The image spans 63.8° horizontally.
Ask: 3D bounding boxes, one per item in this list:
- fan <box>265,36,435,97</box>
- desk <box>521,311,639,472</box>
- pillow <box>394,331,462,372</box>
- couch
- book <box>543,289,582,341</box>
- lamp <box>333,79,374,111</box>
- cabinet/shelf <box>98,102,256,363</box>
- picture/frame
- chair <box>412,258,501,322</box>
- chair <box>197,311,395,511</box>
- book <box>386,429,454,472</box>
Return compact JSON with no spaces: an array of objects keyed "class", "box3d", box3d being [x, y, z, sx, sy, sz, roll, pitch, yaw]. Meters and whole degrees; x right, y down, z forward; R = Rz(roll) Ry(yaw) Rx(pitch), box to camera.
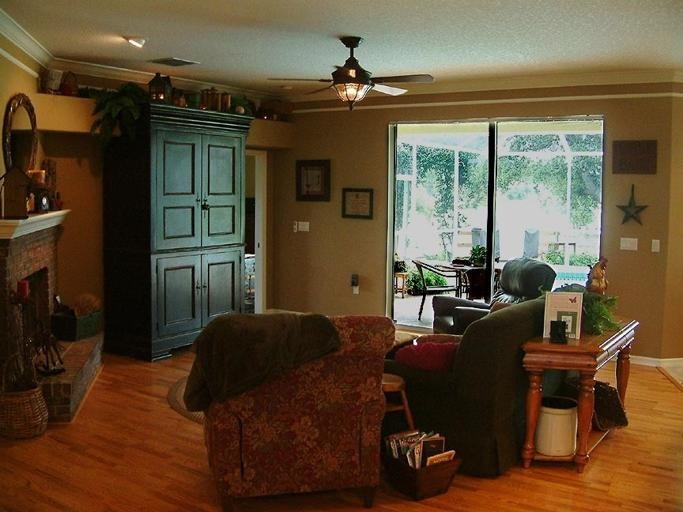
[{"class":"fan","box3d":[0.110,-1.948,5.523,0.879,0.414,0.940,-2,1,19]},{"class":"desk","box3d":[1.736,1.030,4.073,0.425,0.637,1.171,1,4,31]},{"class":"pillow","box3d":[0.640,0.720,4.061,0.371,0.118,0.364,-3,11,19]},{"class":"couch","box3d":[1.018,0.765,4.128,1.053,0.902,1.473,3,5,36]},{"class":"book","box3d":[1.616,0.444,4.014,0.349,0.427,0.031,3,-11,7]},{"class":"lamp","box3d":[0.095,-1.403,4.727,0.330,0.215,0.233,1,9,-1]},{"class":"cabinet/shelf","box3d":[-1.893,-0.285,6.301,1.632,2.826,0.697,-3,10,-24]},{"class":"picture/frame","box3d":[-0.110,-0.943,7.658,1.221,0.805,0.086,6,11,29]},{"class":"chair","box3d":[1.444,0.425,7.265,0.669,0.857,0.687,-3,2,3]},{"class":"chair","box3d":[-0.314,0.951,3.830,1.215,1.142,1.124,1,0,-6]},{"class":"book","box3d":[0.497,1.272,3.639,0.262,0.093,0.270,-4,-12,44]}]
